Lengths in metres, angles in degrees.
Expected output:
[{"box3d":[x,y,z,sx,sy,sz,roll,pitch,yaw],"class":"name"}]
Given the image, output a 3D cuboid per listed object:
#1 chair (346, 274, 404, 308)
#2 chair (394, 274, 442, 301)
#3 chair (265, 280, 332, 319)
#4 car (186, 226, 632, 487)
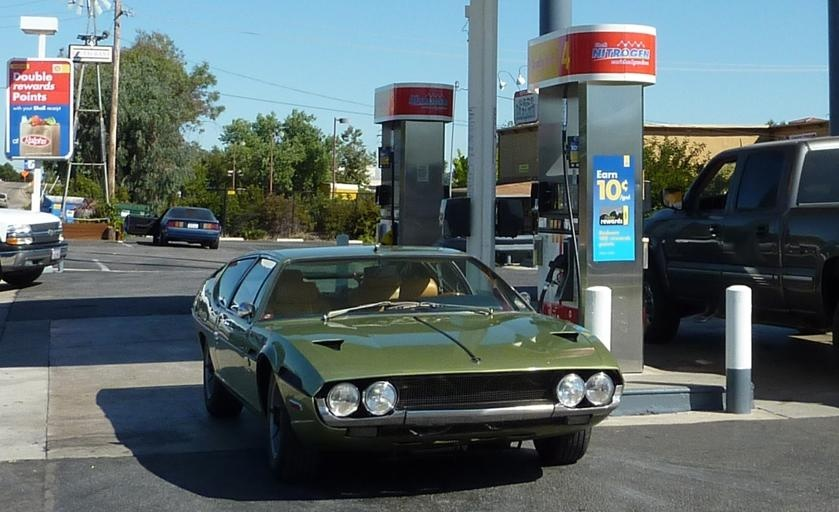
[{"box3d":[-0.450,0.370,7.741,0.357,0.244,0.358,0,0,-13],"class":"chair"},{"box3d":[-0.033,0.342,7.793,0.418,0.156,0.226,-2,7,-26],"class":"chair"},{"box3d":[-1.259,0.460,7.467,0.446,0.399,0.442,4,-14,-7],"class":"chair"},{"box3d":[-0.382,1.003,7.305,4.284,2.113,2.376,4,6,36],"class":"car"}]
